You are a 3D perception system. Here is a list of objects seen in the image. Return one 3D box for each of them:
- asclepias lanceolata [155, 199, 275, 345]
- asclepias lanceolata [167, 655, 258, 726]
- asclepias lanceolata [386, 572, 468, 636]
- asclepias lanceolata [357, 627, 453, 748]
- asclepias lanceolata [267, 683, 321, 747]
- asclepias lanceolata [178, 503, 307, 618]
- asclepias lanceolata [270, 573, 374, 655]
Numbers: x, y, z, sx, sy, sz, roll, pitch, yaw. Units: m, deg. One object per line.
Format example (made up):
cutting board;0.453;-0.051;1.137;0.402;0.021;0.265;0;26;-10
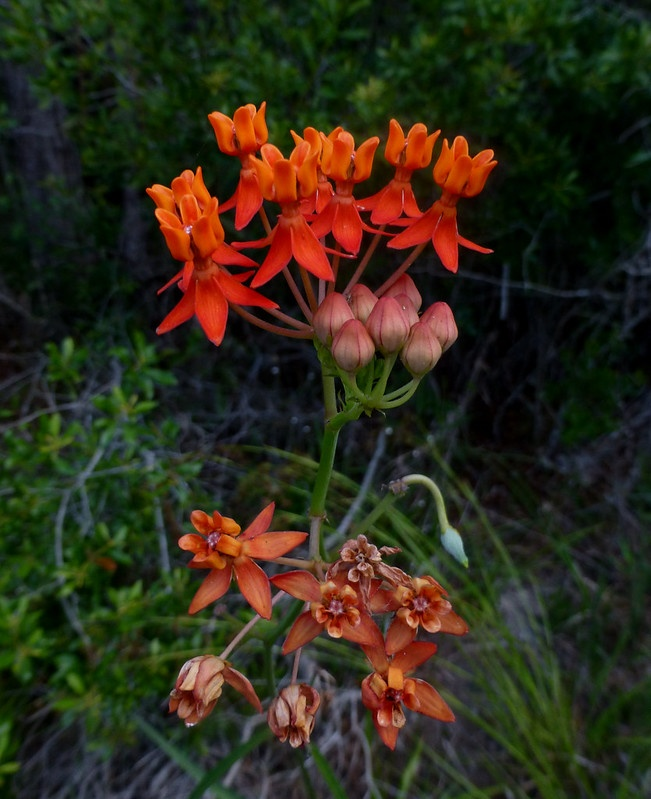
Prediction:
asclepias lanceolata;-0.218;-0.240;1.358;0.225;0.269;0.300;-6;52;1
asclepias lanceolata;-0.254;0.590;1.439;0.137;0.182;0.089;-8;85;37
asclepias lanceolata;0.173;0.417;1.394;0.052;0.163;0.130;50;30;2
asclepias lanceolata;0.122;0.570;1.416;0.231;0.115;0.253;-13;39;7
asclepias lanceolata;-0.067;0.627;1.414;0.106;0.060;0.129;-1;42;6
asclepias lanceolata;-0.166;0.350;1.462;0.256;0.252;0.249;6;54;10
asclepias lanceolata;0.008;0.420;1.360;0.066;0.229;0.151;-40;58;27
